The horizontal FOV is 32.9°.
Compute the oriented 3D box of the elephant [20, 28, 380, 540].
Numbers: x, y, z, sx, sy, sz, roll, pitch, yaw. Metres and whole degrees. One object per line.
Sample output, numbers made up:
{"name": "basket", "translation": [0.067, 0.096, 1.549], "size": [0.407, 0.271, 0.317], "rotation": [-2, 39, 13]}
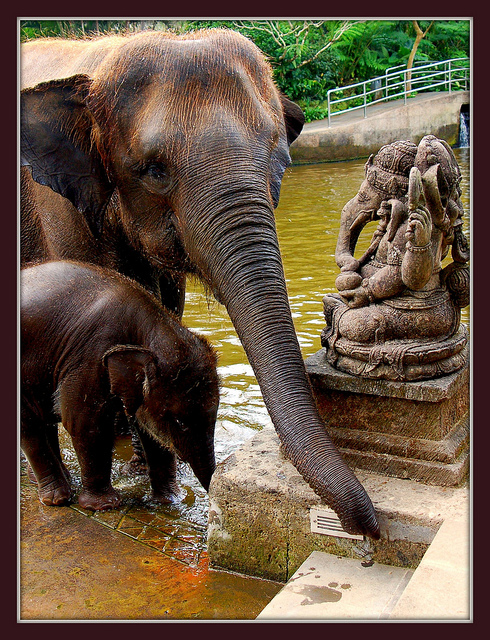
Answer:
{"name": "elephant", "translation": [-0.148, -0.541, 3.726], "size": [1.222, 1.361, 2.458], "rotation": [-9, 12, -25]}
